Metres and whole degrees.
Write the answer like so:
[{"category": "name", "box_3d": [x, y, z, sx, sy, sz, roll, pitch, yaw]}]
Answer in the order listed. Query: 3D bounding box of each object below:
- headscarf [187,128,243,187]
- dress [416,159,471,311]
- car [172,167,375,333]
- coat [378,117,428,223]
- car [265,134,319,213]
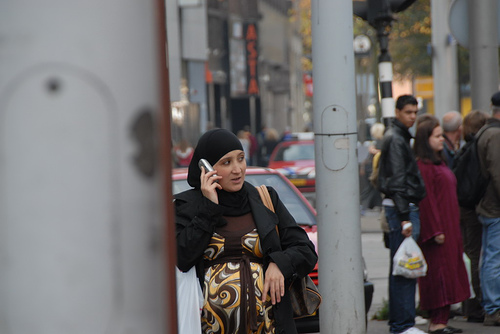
[{"category": "headscarf", "box_3d": [-0.347, -0.081, 10.328, 0.420, 0.448, 0.454, 4, 13, 22]}, {"category": "dress", "box_3d": [1.858, 0.655, 12.178, 0.489, 1.483, 0.350, -5, -4, 7]}, {"category": "car", "box_3d": [0.495, 0.617, 12.435, 1.229, 1.192, 2.318, 0, -6, -12]}, {"category": "coat", "box_3d": [1.445, 0.036, 11.899, 0.436, 1.006, 0.231, -5, -4, 4]}, {"category": "car", "box_3d": [1.111, 0.177, 26.684, 1.305, 1.524, 3.228, -4, -4, 8]}]
